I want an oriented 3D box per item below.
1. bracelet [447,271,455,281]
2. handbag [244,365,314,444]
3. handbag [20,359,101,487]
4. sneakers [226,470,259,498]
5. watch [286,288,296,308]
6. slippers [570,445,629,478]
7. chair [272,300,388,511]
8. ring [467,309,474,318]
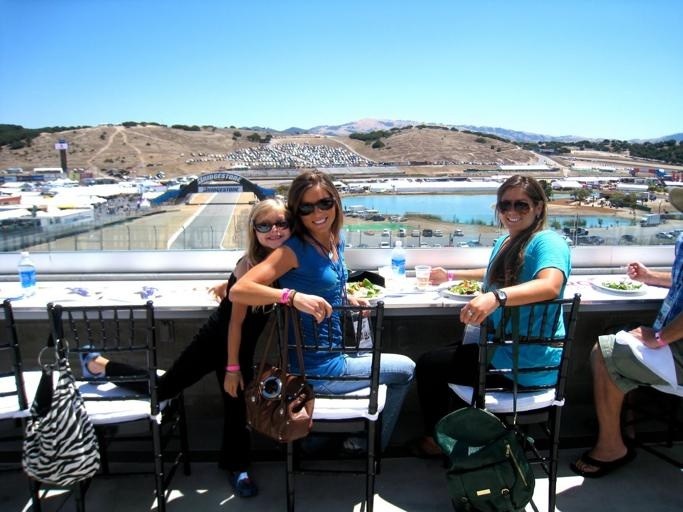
[{"bbox_3d":[0.730,0.134,3.058,0.046,0.046,0.016,-4,-2,38],"label":"bracelet"},{"bbox_3d":[-0.260,0.648,2.135,0.260,0.330,0.426,1,0,-36],"label":"handbag"},{"bbox_3d":[-1.310,0.791,2.095,0.312,0.599,0.135,-6,11,-17],"label":"handbag"},{"bbox_3d":[-0.559,1.244,2.554,0.104,0.074,0.196,-3,13,-31],"label":"sneakers"},{"bbox_3d":[-0.221,0.184,2.019,0.044,0.055,0.052,5,2,4],"label":"watch"},{"bbox_3d":[1.489,1.175,2.624,0.363,0.062,0.124,-15,25,4],"label":"slippers"},{"bbox_3d":[-0.051,0.768,2.296,0.549,1.179,0.354,-2,11,3],"label":"chair"},{"bbox_3d":[0.578,0.258,2.061,0.035,0.028,0.026,1,39,6],"label":"ring"}]
